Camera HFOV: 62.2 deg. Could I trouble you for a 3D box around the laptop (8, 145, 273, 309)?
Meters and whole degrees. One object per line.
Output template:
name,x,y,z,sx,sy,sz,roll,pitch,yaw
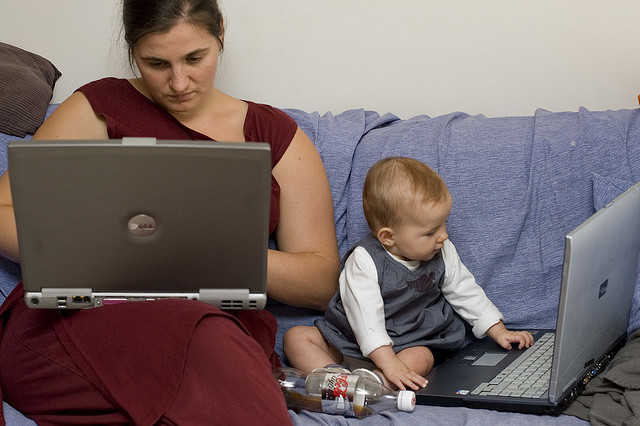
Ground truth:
laptop,-0.391,0.089,1.243,0.549,0.366,0.365,1,23,-5

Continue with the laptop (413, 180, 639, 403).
laptop,0.556,0.216,1.400,0.487,0.503,0.477,3,19,29

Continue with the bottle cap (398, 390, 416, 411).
bottle cap,0.222,0.468,1.338,0.043,0.055,0.058,-3,-21,15

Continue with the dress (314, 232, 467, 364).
dress,0.263,0.248,1.717,0.576,0.416,0.319,1,17,-8

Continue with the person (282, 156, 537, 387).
person,0.285,0.190,1.625,0.813,0.675,0.491,-6,19,-19
